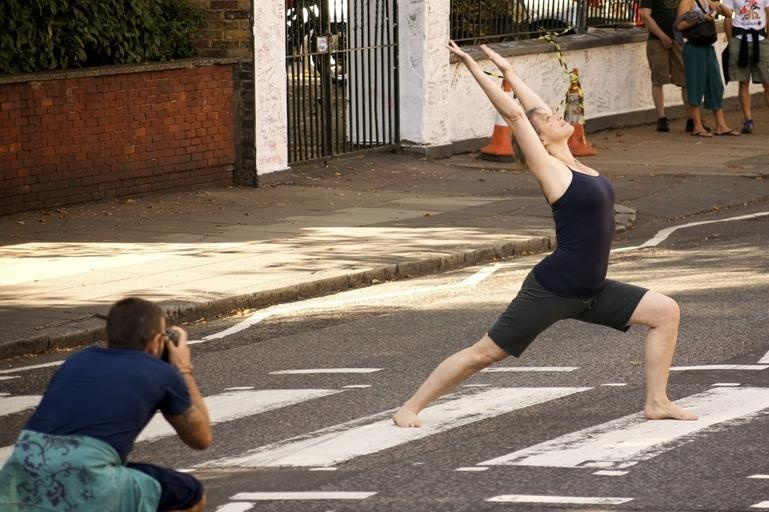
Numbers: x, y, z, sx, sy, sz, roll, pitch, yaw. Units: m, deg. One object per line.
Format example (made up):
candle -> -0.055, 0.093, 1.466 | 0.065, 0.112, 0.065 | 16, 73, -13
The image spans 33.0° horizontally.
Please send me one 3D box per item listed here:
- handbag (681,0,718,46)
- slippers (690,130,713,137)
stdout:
handbag -> 5.364, -4.101, 22.504 | 0.578, 0.830, 0.395 | -3, 13, 11
slippers -> 5.537, -2.194, 22.931 | 0.316, 0.057, 0.143 | 4, 14, 24
